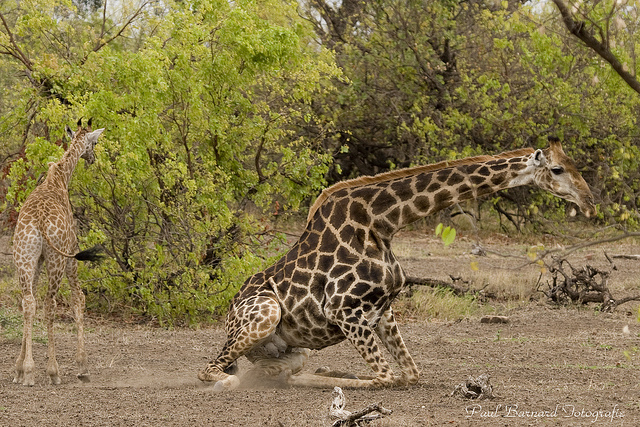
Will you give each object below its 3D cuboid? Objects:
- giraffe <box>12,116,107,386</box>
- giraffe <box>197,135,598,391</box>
[{"bbox_3d":[-4.157,0.590,14.622,1.146,4.053,1.028,2,-4,-28],"label":"giraffe"},{"bbox_3d":[1.135,0.825,14.510,5.862,3.883,2.613,0,3,17],"label":"giraffe"}]
